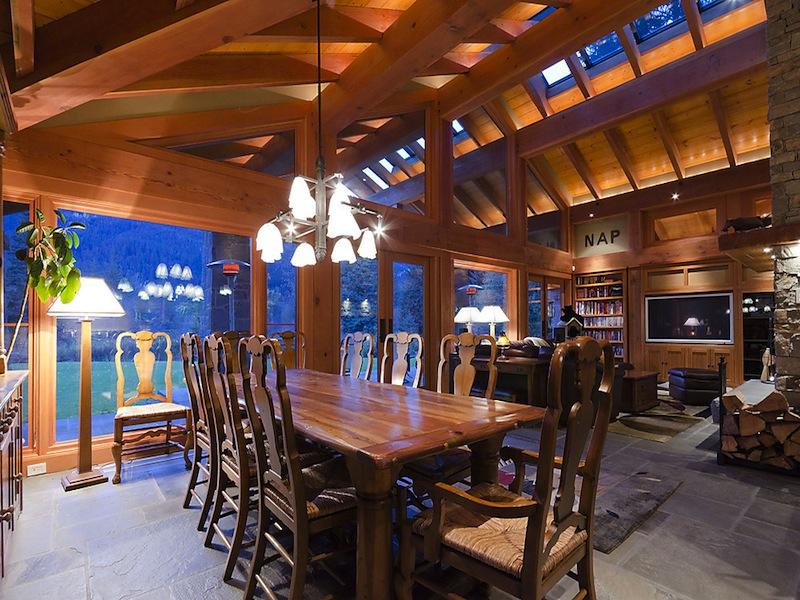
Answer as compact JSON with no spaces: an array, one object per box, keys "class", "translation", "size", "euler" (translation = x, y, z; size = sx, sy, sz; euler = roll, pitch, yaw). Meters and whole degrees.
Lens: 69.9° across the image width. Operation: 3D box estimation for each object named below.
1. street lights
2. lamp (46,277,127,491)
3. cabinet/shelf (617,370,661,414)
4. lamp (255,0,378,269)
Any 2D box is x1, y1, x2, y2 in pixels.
[{"class":"street lights","translation":[-2.552,-0.057,6.042],"size":[0.786,0.683,0.086],"euler":[0,-2,-31]},{"class":"lamp","translation":[-2.849,0.708,5.210],"size":[0.566,1.882,0.658],"euler":[-1,-2,-32]},{"class":"cabinet/shelf","translation":[3.063,1.128,7.386],"size":[0.530,0.356,0.549],"euler":[-3,-2,39]},{"class":"lamp","translation":[-0.789,-1.649,5.765],"size":[1.203,2.737,2.444],"euler":[-2,-2,-3]}]
